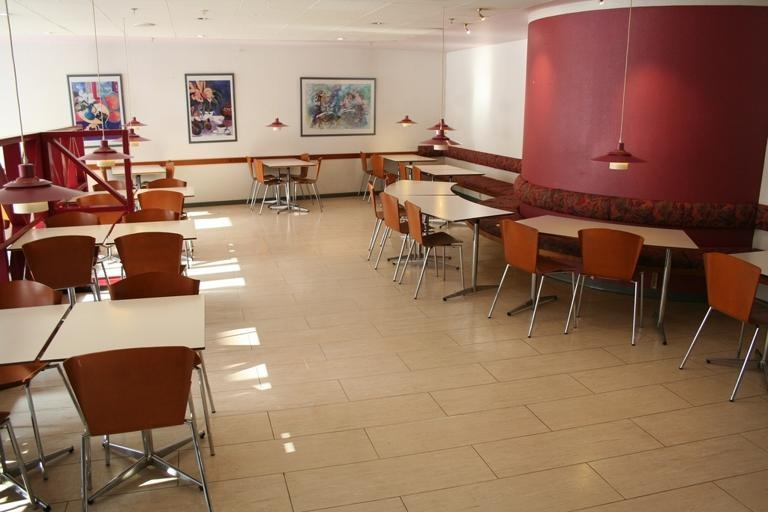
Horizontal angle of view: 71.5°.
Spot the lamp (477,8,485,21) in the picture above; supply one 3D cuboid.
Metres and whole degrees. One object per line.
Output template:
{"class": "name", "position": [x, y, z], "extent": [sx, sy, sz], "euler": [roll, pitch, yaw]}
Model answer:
{"class": "lamp", "position": [1.405, -3.543, 7.864], "extent": [0.108, 0.116, 0.357], "euler": [4, 7, 6]}

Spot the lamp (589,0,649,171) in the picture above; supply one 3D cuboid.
{"class": "lamp", "position": [2.843, -1.976, 6.220], "extent": [0.490, 2.074, 1.687], "euler": [8, 20, 23]}

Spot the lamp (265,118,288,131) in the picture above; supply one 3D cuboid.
{"class": "lamp", "position": [-2.356, -2.864, 11.768], "extent": [0.501, 0.216, 0.432], "euler": [-5, 21, -15]}

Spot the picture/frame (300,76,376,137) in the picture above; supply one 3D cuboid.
{"class": "picture/frame", "position": [-1.188, -3.558, 12.608], "extent": [1.933, 1.103, 0.056], "euler": [-3, 19, -12]}
